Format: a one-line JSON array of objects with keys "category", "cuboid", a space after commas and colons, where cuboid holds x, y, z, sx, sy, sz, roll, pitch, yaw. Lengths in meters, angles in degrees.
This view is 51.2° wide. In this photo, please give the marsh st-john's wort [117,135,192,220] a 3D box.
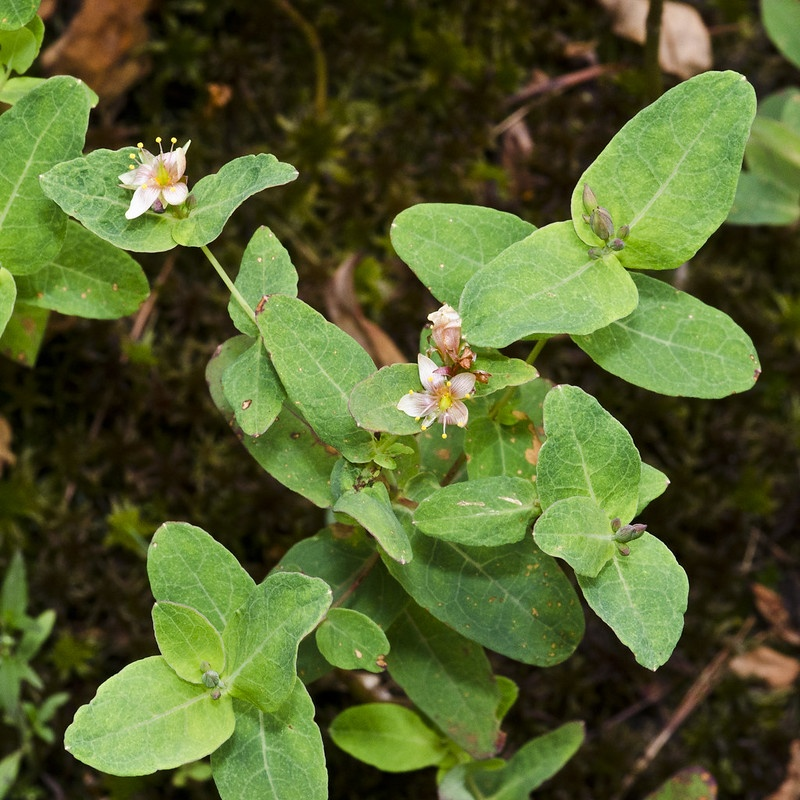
[{"category": "marsh st-john's wort", "cuboid": [-0.272, -0.254, 0.961, 0.085, 0.054, 0.111, -41, 24, -5]}]
